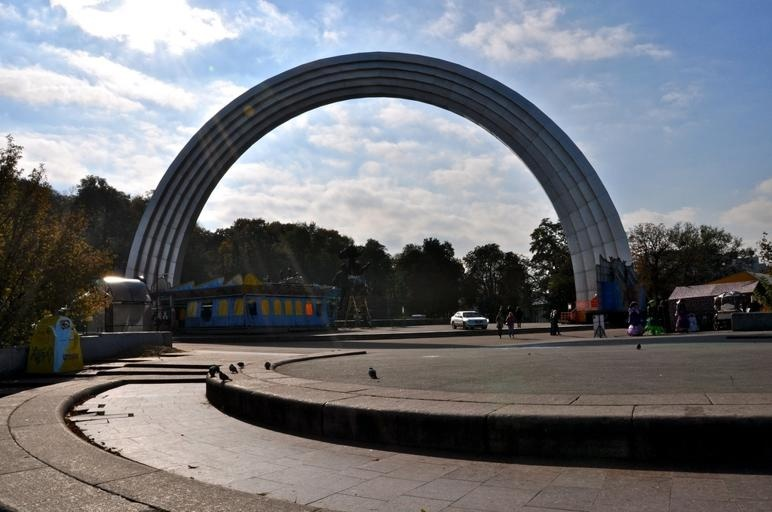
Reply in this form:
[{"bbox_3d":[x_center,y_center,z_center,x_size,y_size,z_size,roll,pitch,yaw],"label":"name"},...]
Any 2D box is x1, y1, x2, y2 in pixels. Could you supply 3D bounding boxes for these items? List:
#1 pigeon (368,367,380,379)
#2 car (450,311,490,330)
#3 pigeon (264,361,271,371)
[{"bbox_3d":[-0.266,2.687,11.729,0.210,0.247,0.634,0,-8,-1],"label":"pigeon"},{"bbox_3d":[7.429,5.854,46.472,1.501,1.229,3.594,1,-10,-15],"label":"car"},{"bbox_3d":[-2.884,2.687,12.495,0.147,0.133,0.171,-2,-16,1],"label":"pigeon"}]
